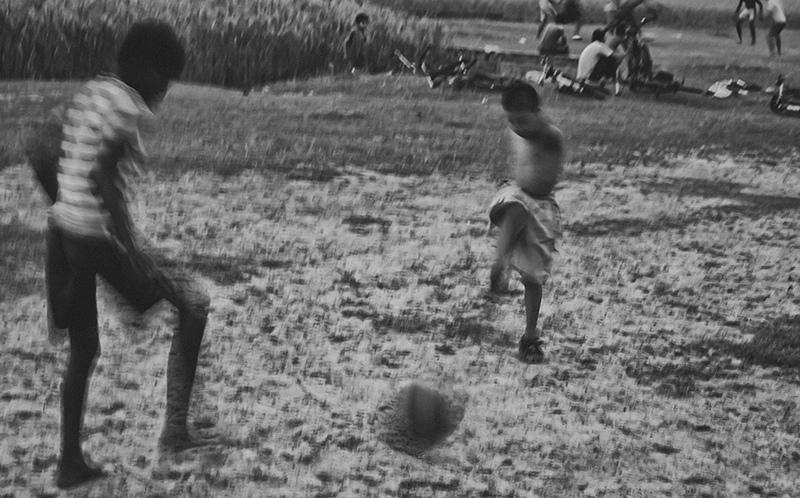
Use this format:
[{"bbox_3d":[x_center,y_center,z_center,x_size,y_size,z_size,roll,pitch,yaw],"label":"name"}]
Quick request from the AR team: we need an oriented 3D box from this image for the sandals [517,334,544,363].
[{"bbox_3d":[0.995,0.747,8.387,0.189,0.204,0.195,-1,9,-2],"label":"sandals"}]

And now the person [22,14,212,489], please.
[{"bbox_3d":[-1.856,0.067,7.307,0.963,3.030,0.521,-1,15,-18],"label":"person"}]

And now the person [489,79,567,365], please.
[{"bbox_3d":[0.962,-0.216,8.370,0.529,2.080,1.030,5,14,5],"label":"person"}]
